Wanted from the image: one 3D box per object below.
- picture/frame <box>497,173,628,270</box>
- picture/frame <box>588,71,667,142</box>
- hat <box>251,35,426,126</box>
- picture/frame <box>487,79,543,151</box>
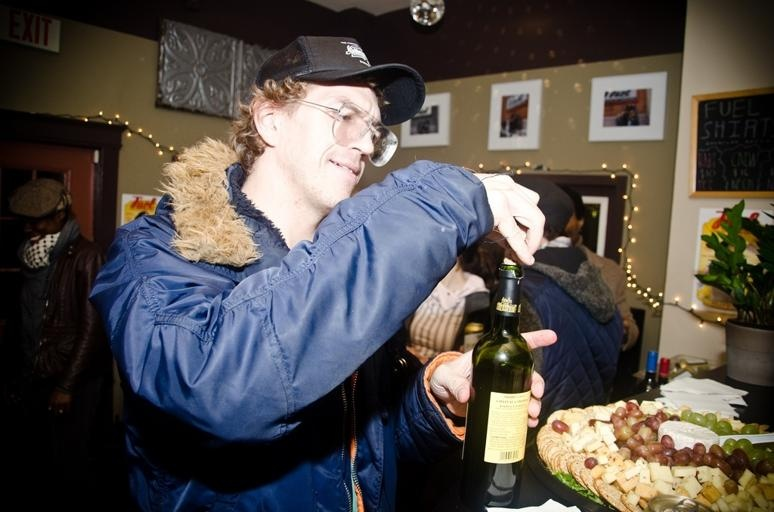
[{"bbox_3d":[1.152,-0.216,3.721,0.595,0.768,0.041,16,9,37],"label":"picture/frame"},{"bbox_3d":[1.993,-1.239,4.845,0.513,0.633,0.057,5,3,30],"label":"picture/frame"},{"bbox_3d":[-0.211,-0.733,2.707,0.624,0.260,0.445,5,3,25],"label":"hat"},{"bbox_3d":[1.171,-1.288,5.336,0.505,0.684,0.051,14,5,37],"label":"picture/frame"}]
